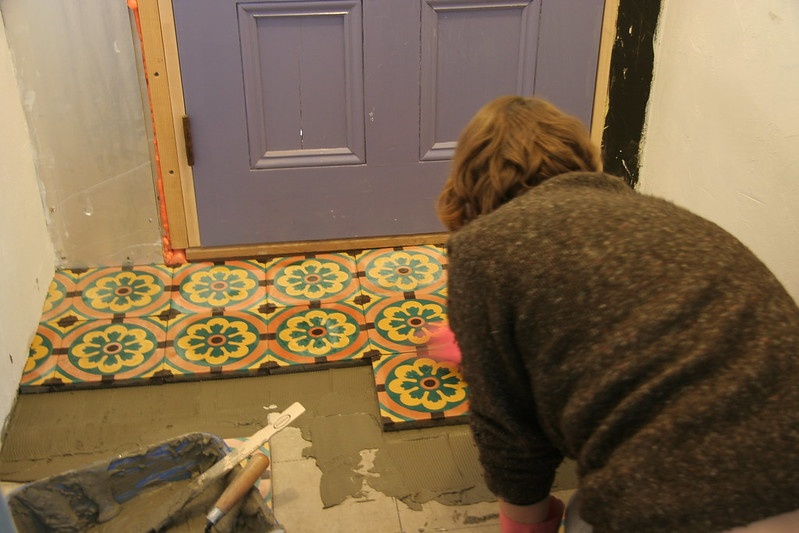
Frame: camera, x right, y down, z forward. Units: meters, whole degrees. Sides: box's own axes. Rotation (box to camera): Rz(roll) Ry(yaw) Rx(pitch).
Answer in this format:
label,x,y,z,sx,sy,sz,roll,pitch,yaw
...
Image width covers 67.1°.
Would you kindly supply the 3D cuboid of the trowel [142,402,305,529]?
label,x,y,z,sx,sy,sz,roll,pitch,yaw
trowel,-0.483,0.559,1.665,0.578,0.028,0.083,-31,48,-25
